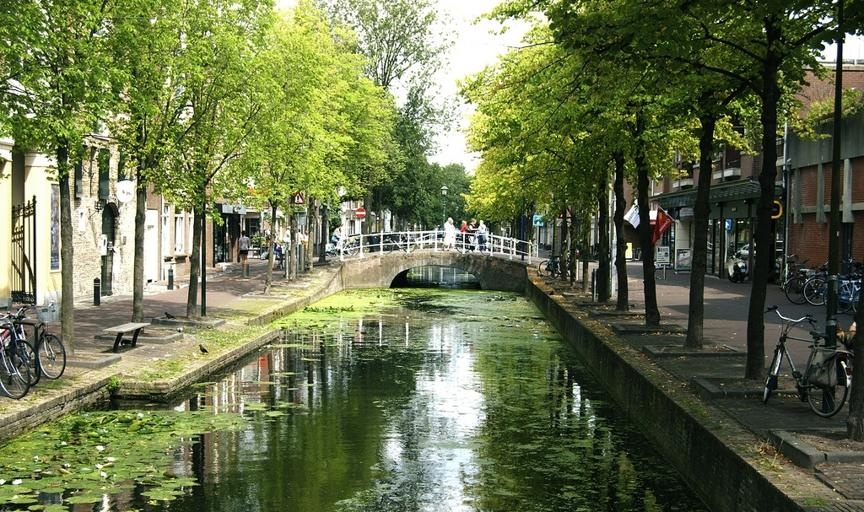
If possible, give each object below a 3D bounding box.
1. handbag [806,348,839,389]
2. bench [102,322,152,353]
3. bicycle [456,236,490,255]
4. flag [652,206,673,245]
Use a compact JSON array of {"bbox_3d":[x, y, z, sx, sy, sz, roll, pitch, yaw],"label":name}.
[{"bbox_3d":[6.826,1.977,16.087,0.327,0.634,0.713,15,-9,-12],"label":"handbag"},{"bbox_3d":[-7.398,1.899,22.292,0.793,0.699,1.979,0,9,-13],"label":"bench"},{"bbox_3d":[2.267,-0.571,54.941,2.147,1.076,1.116,1,13,0],"label":"bicycle"},{"bbox_3d":[9.590,-1.239,38.324,0.993,1.905,0.123,1,35,20],"label":"flag"}]
